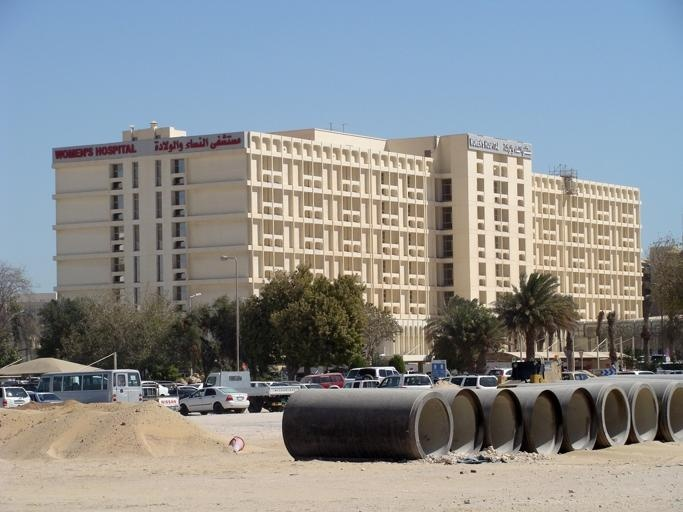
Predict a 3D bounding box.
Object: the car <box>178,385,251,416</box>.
[{"bbox_3d":[-7.909,8.786,85.191,3.663,1.458,1.805,0,-3,25],"label":"car"}]
